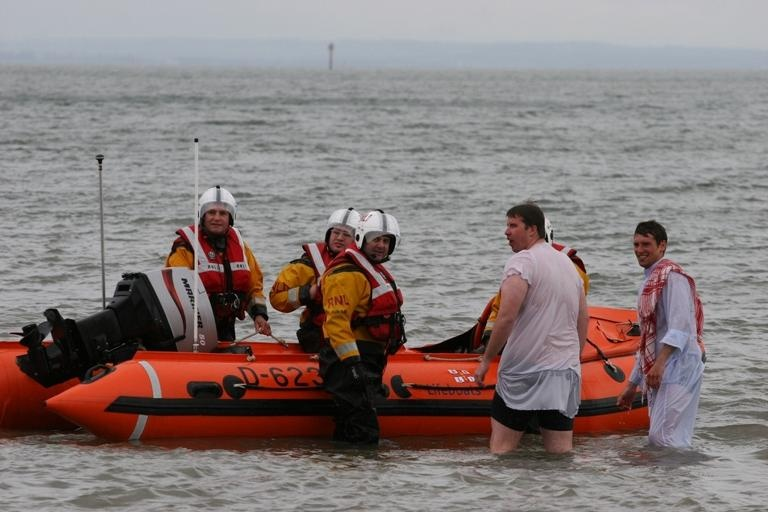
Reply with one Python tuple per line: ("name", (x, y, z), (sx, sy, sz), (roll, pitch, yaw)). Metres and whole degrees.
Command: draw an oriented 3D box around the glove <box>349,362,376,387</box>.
("glove", (-0.382, 2.079, 25.223), (0.272, 0.478, 0.427), (7, 13, 35))
